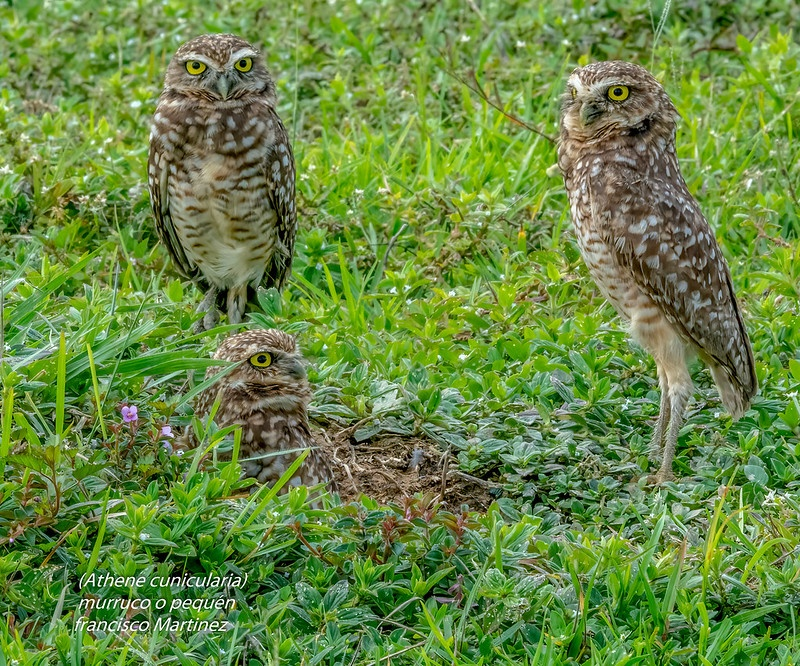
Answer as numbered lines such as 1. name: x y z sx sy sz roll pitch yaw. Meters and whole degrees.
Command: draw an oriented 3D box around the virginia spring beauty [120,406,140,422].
1. virginia spring beauty: -1.109 0.328 4.474 0.072 0.069 0.035 -11 4 -8
